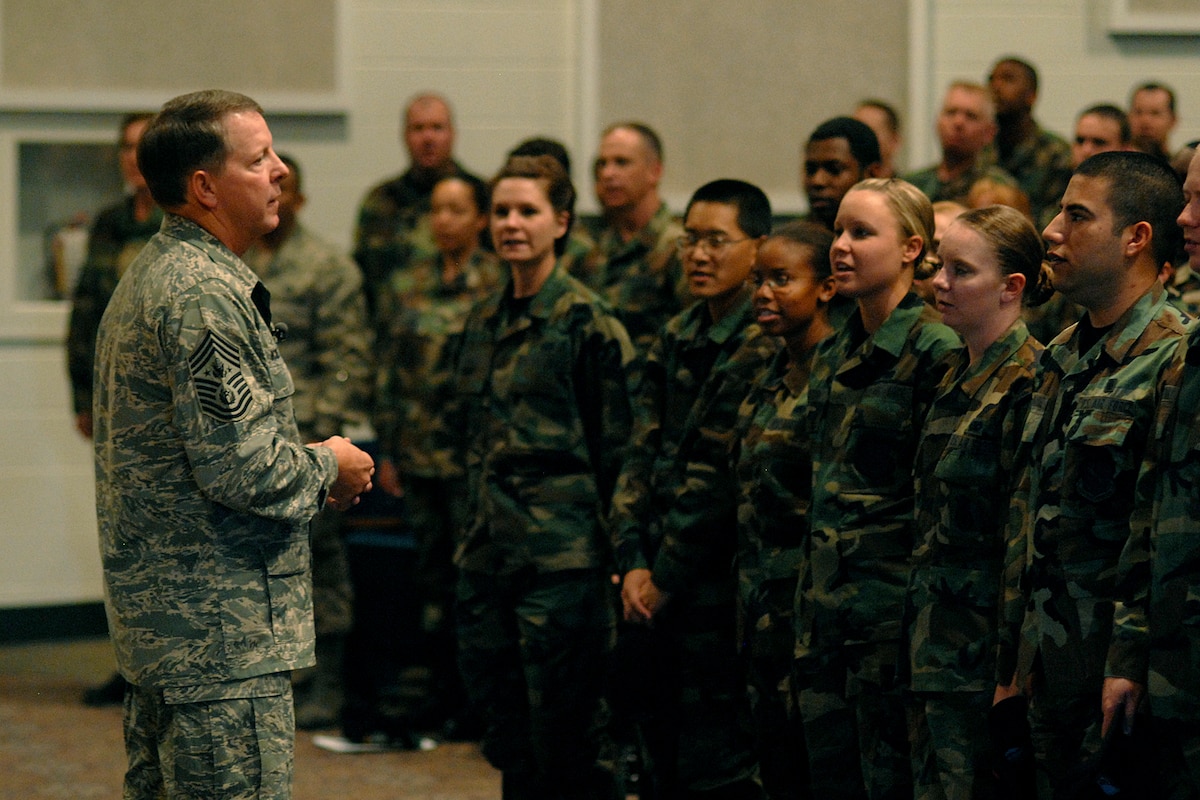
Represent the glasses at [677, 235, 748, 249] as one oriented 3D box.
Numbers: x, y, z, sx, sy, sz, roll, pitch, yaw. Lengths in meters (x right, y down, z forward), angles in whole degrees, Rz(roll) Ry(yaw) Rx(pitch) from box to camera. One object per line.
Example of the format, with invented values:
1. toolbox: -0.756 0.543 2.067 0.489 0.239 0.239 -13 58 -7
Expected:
1. glasses: 0.416 -0.626 7.908 0.284 0.060 0.113 5 8 45
